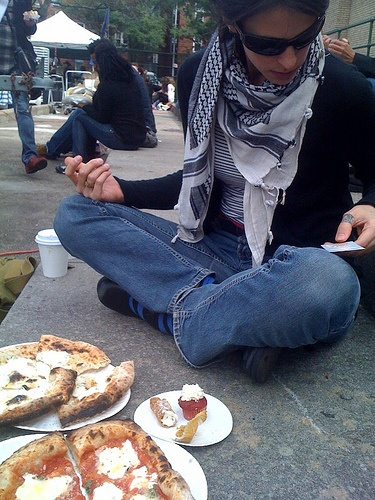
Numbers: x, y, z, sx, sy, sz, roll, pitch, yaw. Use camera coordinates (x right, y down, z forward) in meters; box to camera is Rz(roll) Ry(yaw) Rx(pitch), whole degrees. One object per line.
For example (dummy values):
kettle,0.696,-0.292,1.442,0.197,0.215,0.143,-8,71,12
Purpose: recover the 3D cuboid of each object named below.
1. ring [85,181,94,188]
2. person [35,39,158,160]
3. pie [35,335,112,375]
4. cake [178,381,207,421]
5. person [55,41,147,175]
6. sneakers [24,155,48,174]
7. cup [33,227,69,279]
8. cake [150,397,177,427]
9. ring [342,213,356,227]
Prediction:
ring,-0.381,-0.256,1.713,0.030,0.017,0.034,5,-4,-5
person,-1.129,-1.657,5.098,1.485,1.351,0.669,13,24,13
pie,-0.390,0.340,1.439,0.245,0.017,0.156,18,25,19
cake,0.015,0.423,1.226,0.073,0.075,0.080,8,12,36
person,-0.996,-1.599,4.984,1.044,1.307,0.600,7,26,7
sneakers,-1.503,-0.841,4.380,0.180,0.175,0.141,20,27,30
cup,-0.670,0.024,2.184,0.227,0.240,0.172,-5,16,-27
cake,-0.067,0.443,1.213,0.054,0.032,0.095,12,4,-24
ring,0.509,-0.095,1.389,0.033,0.013,0.039,23,44,35
